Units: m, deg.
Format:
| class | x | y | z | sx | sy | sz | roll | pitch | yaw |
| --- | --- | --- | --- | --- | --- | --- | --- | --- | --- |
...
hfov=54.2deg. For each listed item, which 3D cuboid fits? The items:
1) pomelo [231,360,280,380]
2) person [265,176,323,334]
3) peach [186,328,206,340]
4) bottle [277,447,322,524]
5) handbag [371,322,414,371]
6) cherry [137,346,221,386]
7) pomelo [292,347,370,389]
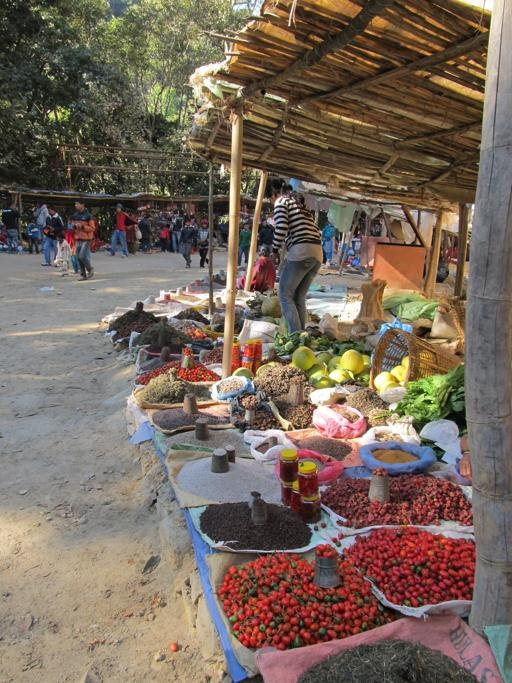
| class | x | y | z | sx | sy | sz | roll | pitch | yaw |
| --- | --- | --- | --- | --- | --- | --- | --- | --- | --- |
| pomelo | 0.003 | 0.257 | 4.636 | 0.306 | 0.103 | 0.192 | -14 | 15 | 6 |
| person | 0.408 | -0.938 | 5.920 | 0.695 | 1.903 | 0.831 | -6 | 11 | -43 |
| peach | -0.782 | -0.089 | 6.616 | 0.188 | 0.072 | 0.205 | 14 | 11 | -14 |
| bottle | 0.235 | 0.755 | 2.711 | 0.224 | 0.341 | 0.235 | 2 | 8 | 0 |
| handbag | 1.389 | -0.012 | 4.958 | 0.271 | 0.584 | 0.483 | 11 | 7 | 7 |
| cherry | -0.803 | 0.255 | 5.023 | 0.724 | 0.271 | 1.114 | -11 | 15 | -40 |
| pomelo | 0.726 | 0.240 | 4.689 | 0.752 | 0.306 | 0.812 | 0 | 12 | 6 |
